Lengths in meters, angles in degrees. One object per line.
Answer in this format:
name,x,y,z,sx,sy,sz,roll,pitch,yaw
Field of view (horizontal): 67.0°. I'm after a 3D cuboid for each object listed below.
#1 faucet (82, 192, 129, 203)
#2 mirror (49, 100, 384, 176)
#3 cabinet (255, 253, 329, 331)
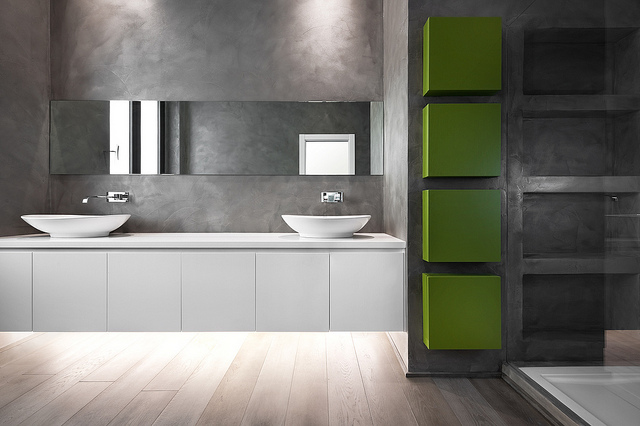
faucet,-1.812,-0.135,4.181,0.255,0.060,0.154,-1,-1,-12
mirror,-0.809,-0.567,4.197,2.947,0.684,0.035,-2,7,-3
cabinet,-0.195,0.560,3.755,0.741,0.695,0.502,0,-4,0
